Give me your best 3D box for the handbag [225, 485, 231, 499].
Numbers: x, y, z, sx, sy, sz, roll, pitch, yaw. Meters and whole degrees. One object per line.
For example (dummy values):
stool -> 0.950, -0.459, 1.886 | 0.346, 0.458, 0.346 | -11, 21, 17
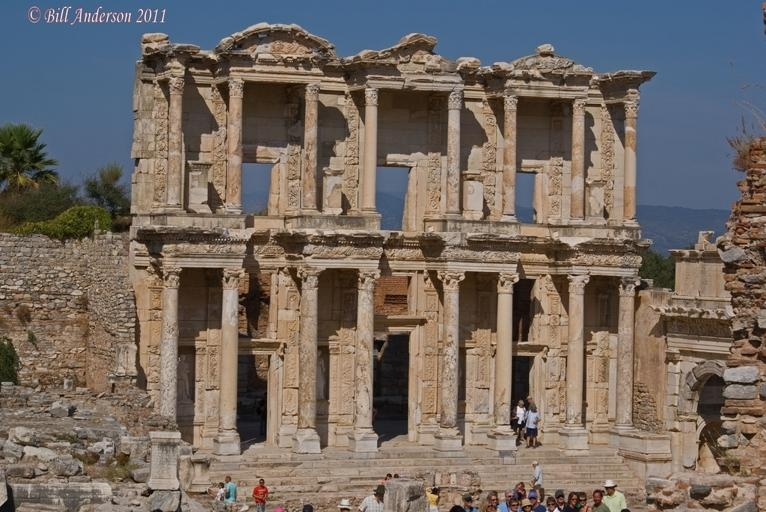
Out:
handbag -> -4.181, 6.580, 49.080 | 0.236, 0.403, 0.312 | 0, 1, -1

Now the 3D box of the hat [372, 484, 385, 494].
hat -> -0.059, 6.027, 45.495 | 0.312, 0.161, 0.343 | 13, -5, 13

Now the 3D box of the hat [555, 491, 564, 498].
hat -> 4.381, 5.936, 44.234 | 0.225, 0.181, 0.296 | 1, -17, -8

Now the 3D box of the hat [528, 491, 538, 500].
hat -> 3.857, 6.251, 46.020 | 0.286, 0.276, 0.470 | -2, -14, 6

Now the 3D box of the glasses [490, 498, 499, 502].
glasses -> 2.676, 5.935, 43.067 | 0.146, 0.135, 0.048 | 2, 16, -6

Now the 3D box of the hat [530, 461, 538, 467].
hat -> 4.347, 6.011, 51.402 | 0.163, 0.167, 0.192 | -4, -28, 13

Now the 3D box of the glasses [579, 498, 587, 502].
glasses -> 4.866, 6.043, 43.907 | 0.142, 0.098, 0.171 | 1, -9, -1
